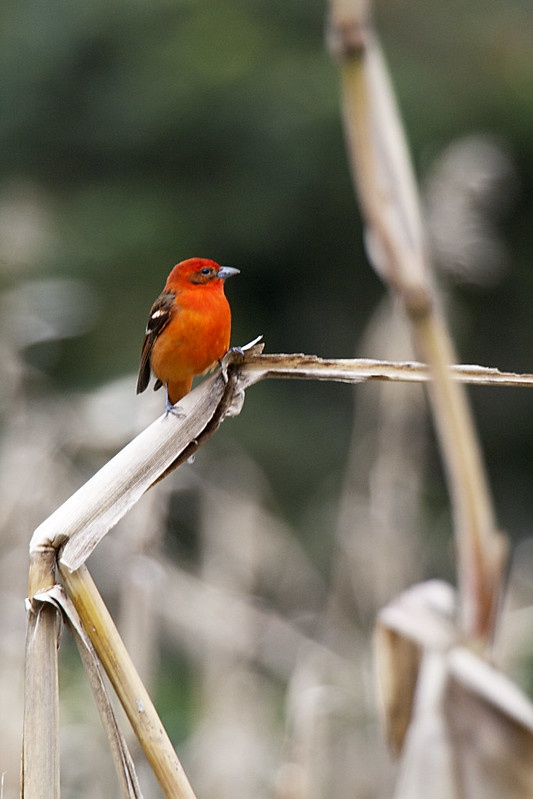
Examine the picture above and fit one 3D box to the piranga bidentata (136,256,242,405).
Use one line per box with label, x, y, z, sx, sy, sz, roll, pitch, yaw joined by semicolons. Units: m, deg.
piranga bidentata;-0.222;-0.224;3.208;0.251;0.395;0.366;-1;50;20
